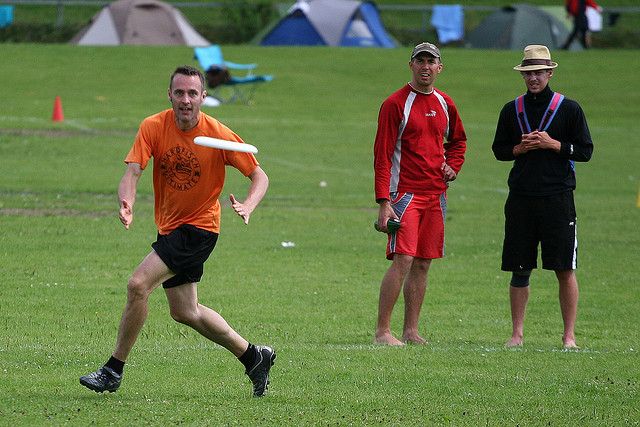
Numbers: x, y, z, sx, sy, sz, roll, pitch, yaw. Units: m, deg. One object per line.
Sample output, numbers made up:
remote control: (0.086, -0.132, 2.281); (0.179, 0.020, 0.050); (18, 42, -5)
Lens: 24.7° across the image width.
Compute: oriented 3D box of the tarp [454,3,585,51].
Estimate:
tarp: (5.675, -5.793, 45.488); (4.098, 1.548, 3.690); (7, 12, 23)

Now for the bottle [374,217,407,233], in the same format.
bottle: (1.140, 0.191, 23.199); (0.376, 0.120, 0.250); (13, -1, -16)

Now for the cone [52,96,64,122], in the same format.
cone: (-5.633, -2.245, 31.560); (0.374, 0.543, 0.343); (-8, 37, -21)
